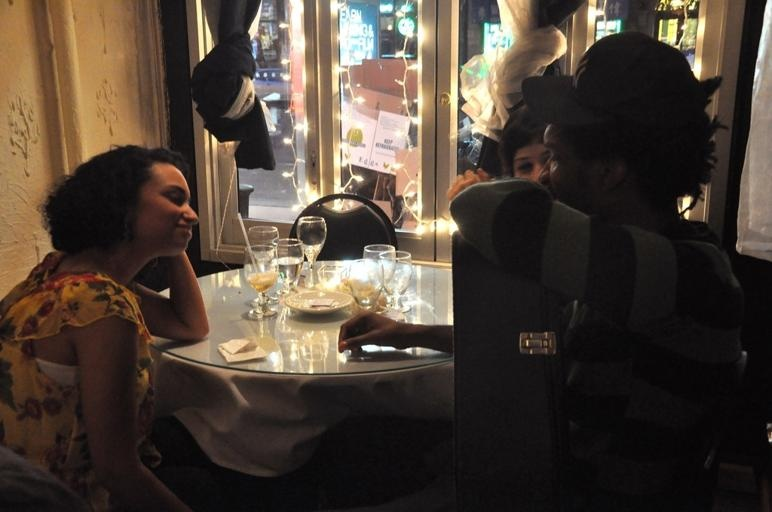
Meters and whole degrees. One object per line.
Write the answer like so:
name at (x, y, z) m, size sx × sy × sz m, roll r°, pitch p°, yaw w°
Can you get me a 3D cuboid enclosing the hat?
hat at (0.464, -0.338, 1.248) m, size 0.275 × 0.121 × 0.188 m, roll 2°, pitch 16°, yaw 9°
